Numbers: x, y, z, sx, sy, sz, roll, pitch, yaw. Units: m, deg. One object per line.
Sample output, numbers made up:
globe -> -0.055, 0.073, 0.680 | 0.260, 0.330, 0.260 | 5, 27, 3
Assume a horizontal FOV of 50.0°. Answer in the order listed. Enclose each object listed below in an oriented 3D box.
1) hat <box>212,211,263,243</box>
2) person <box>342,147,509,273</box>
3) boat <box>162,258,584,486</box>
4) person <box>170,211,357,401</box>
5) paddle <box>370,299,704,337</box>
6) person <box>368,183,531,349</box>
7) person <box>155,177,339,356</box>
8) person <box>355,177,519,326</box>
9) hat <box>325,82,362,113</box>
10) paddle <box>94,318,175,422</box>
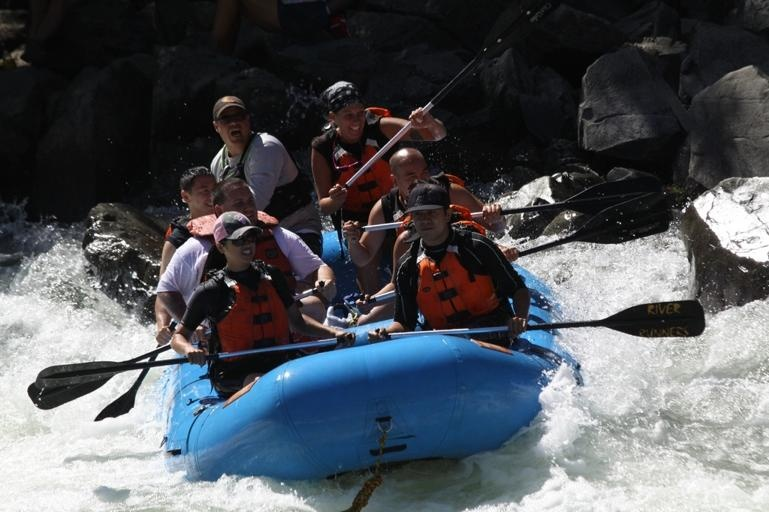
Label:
hat -> -1.151, -0.246, 6.439 | 0.303, 0.212, 0.403 | -18, 5, -27
person -> 0.222, -0.517, 7.503 | 1.579, 0.729, 2.242 | -12, 5, -16
boat -> -0.314, 1.501, 7.958 | 3.063, 1.125, 4.478 | -8, -9, -12
person -> -1.013, 0.437, 6.513 | 1.280, 1.652, 1.004 | -6, -11, -39
paddle -> 1.487, 0.625, 7.097 | 2.500, 0.344, 0.087 | -9, -19, 44
person -> 0.456, 0.115, 6.666 | 1.012, 1.279, 0.880 | -27, -14, 35
person -> -1.280, 0.020, 6.941 | 1.203, 1.014, 1.491 | -13, 12, -27
person -> 0.451, 0.149, 6.519 | 1.135, 1.411, 0.837 | -14, 9, 14
hat -> -0.411, -1.466, 7.722 | 0.318, 0.249, 0.242 | -30, 16, 18
paddle -> -2.314, 1.089, 7.623 | 1.162, 0.231, 0.113 | -49, 4, 1
